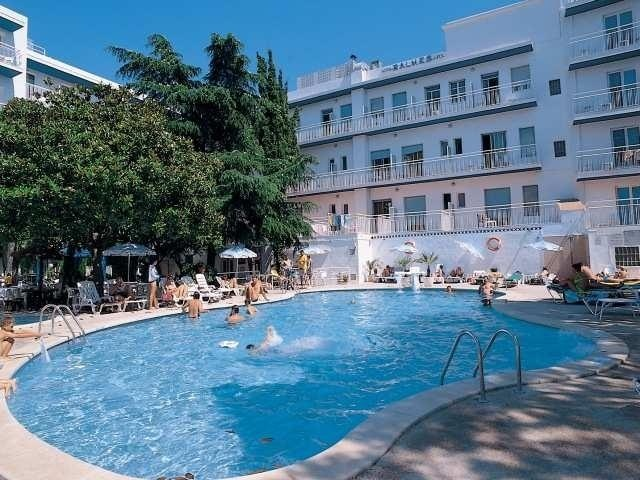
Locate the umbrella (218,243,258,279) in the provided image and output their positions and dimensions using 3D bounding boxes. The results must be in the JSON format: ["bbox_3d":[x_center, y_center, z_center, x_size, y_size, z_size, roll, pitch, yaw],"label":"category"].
[{"bbox_3d":[-4.264,0.726,24.784,1.900,1.556,1.886,0,-3,-8],"label":"umbrella"}]
